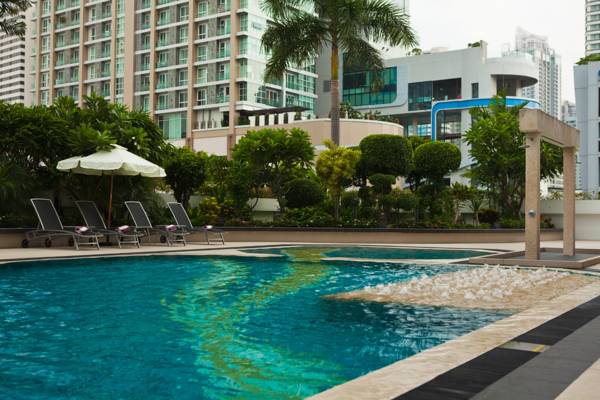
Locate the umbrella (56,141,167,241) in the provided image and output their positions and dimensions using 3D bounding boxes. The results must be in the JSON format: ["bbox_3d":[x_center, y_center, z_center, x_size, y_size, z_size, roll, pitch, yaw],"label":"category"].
[{"bbox_3d":[-6.077,-0.251,16.053,3.409,2.263,3.073,5,9,12],"label":"umbrella"}]
